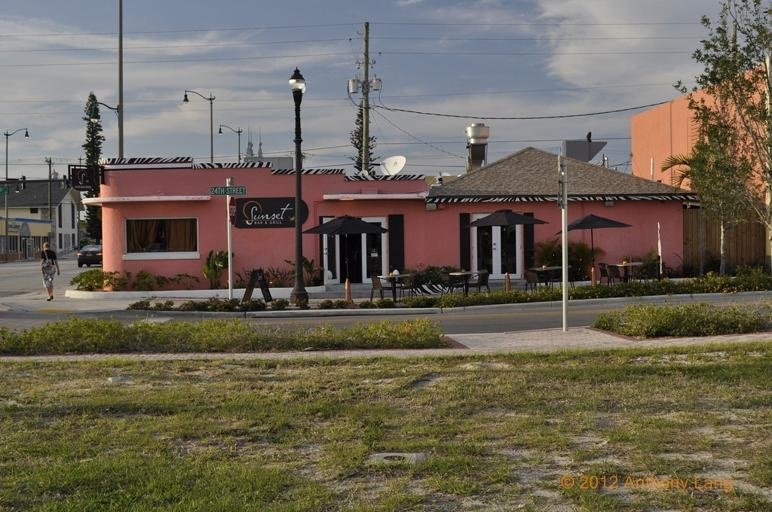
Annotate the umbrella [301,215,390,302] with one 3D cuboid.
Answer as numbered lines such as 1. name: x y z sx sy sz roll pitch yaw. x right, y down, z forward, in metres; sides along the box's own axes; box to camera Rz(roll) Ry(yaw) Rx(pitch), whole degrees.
1. umbrella: -1.340 -0.071 39.997 2.330 1.749 2.487 -1 5 0

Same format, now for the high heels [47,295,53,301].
1. high heels: -11.707 1.468 41.219 0.140 0.151 0.359 -4 -8 -29

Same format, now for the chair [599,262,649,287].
1. chair: 8.471 0.605 42.748 1.158 0.579 1.170 -1 -1 26

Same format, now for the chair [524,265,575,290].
1. chair: 5.325 0.715 40.718 1.152 0.715 1.109 3 9 27

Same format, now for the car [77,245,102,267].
1. car: -16.044 0.027 64.465 0.970 0.720 2.171 0 4 -2

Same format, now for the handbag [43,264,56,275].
1. handbag: -11.735 0.446 41.217 0.301 0.558 0.434 4 5 30

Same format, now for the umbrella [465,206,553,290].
1. umbrella: 4.189 -0.286 40.756 2.439 1.681 2.481 -3 4 0
